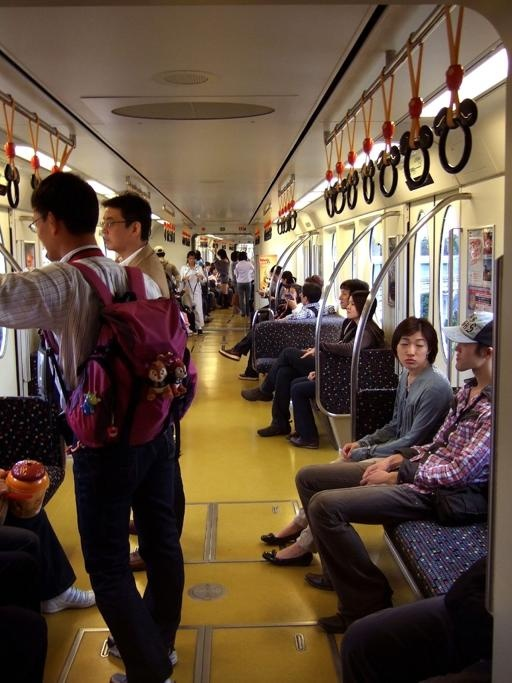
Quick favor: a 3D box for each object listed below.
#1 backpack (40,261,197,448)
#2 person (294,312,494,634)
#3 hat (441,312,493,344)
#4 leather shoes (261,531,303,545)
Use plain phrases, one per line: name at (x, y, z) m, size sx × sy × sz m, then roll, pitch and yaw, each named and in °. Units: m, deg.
backpack at (-0.365, 0.037, 1.326) m, size 0.364 × 0.555 × 0.275 m, roll -1°, pitch 3°, yaw -25°
person at (0.575, 0.572, 2.117) m, size 0.780 × 1.292 × 0.525 m, roll -6°, pitch -2°, yaw 3°
hat at (0.908, -0.061, 1.931) m, size 0.178 × 0.142 × 0.256 m, roll 2°, pitch 3°, yaw 20°
leather shoes at (0.158, 1.236, 2.819) m, size 0.254 × 0.102 × 0.096 m, roll 4°, pitch -6°, yaw -3°
